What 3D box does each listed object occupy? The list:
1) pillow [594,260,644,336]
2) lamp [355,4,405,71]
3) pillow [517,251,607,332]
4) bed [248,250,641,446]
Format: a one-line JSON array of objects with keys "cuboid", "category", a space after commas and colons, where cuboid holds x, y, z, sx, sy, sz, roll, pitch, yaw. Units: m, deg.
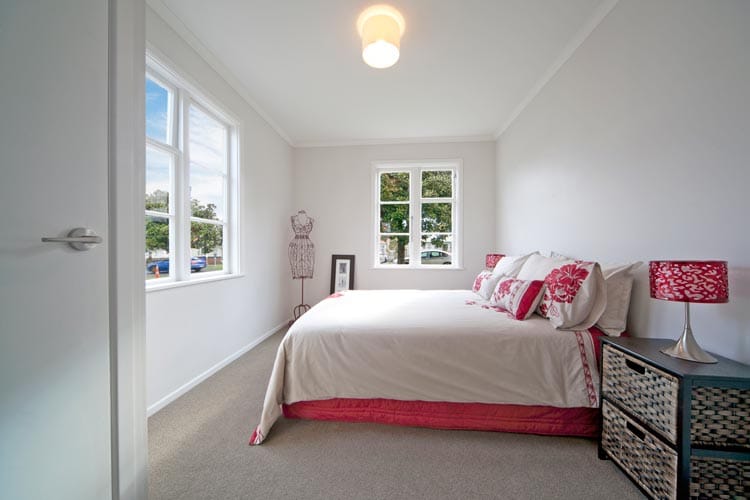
[{"cuboid": [1.746, 0.356, 3.263, 0.135, 0.467, 0.414, 4, 0, -14], "category": "pillow"}, {"cuboid": [0.050, -1.702, 3.625, 0.393, 0.337, 0.377, 1, 2, 1], "category": "lamp"}, {"cuboid": [1.480, 0.254, 3.652, 0.445, 0.384, 0.952, -15, 11, 4], "category": "pillow"}, {"cuboid": [0.491, 0.855, 3.553, 1.707, 0.880, 1.754, 0, -6, 11], "category": "bed"}]
